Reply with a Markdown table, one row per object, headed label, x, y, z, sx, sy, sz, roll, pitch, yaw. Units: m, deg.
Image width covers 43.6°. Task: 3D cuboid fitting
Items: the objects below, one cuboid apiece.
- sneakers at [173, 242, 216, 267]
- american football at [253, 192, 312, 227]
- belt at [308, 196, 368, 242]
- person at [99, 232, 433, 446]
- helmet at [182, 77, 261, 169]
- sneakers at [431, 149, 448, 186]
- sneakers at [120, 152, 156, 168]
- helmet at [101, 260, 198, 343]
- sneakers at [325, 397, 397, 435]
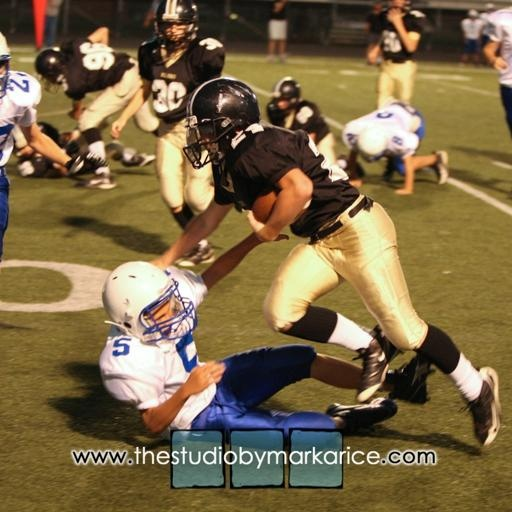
| label | x | y | z | sx | sy | sz | roll | pitch | yaw |
| --- | --- | --- | --- | --- | --- | --- | --- | --- | --- |
| sneakers | -0.392 | -0.035 | 4.611 | 0.383 | 0.144 | 0.124 | -19 | 56 | -40 |
| american football | 0.094 | -0.165 | 2.289 | 0.165 | 0.133 | 0.140 | -2 | 27 | -16 |
| belt | 0.319 | -0.131 | 2.345 | 0.217 | 0.058 | 0.160 | -33 | -5 | 14 |
| person | 0.206 | 0.315 | 2.358 | 1.430 | 0.564 | 0.649 | -2 | 21 | -5 |
| helmet | -0.122 | -0.480 | 2.373 | 0.274 | 0.341 | 0.266 | 3 | 27 | -8 |
| sneakers | 1.877 | -0.879 | 6.381 | 0.165 | 0.328 | 0.177 | 2 | 25 | 33 |
| sneakers | -1.330 | -1.085 | 7.218 | 0.521 | 0.149 | 0.137 | -9 | 23 | -4 |
| helmet | -0.354 | 0.169 | 2.125 | 0.385 | 0.178 | 0.248 | 12 | 36 | 8 |
| sneakers | 0.421 | 0.616 | 2.468 | 0.358 | 0.113 | 0.092 | -12 | 36 | -6 |
